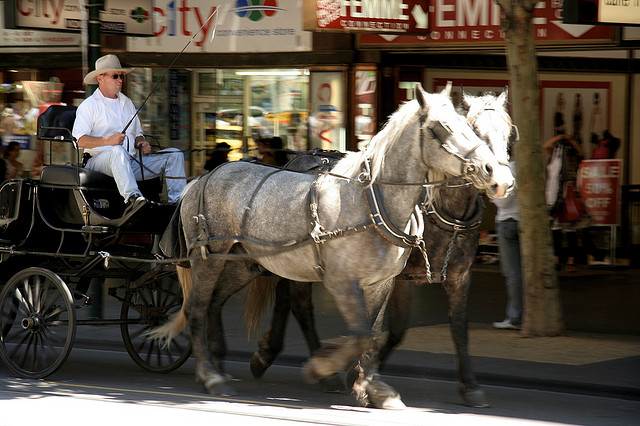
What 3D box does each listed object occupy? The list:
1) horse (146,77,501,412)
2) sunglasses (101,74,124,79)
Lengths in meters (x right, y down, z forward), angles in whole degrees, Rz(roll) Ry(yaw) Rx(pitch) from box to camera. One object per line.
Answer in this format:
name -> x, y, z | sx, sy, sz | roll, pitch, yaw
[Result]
horse -> -0.042, 0.326, 8.895 | 3.170, 3.304, 1.084 | 10, 9, 43
sunglasses -> -2.505, -1.648, 10.594 | 0.146, 0.026, 0.120 | 1, 3, 26
